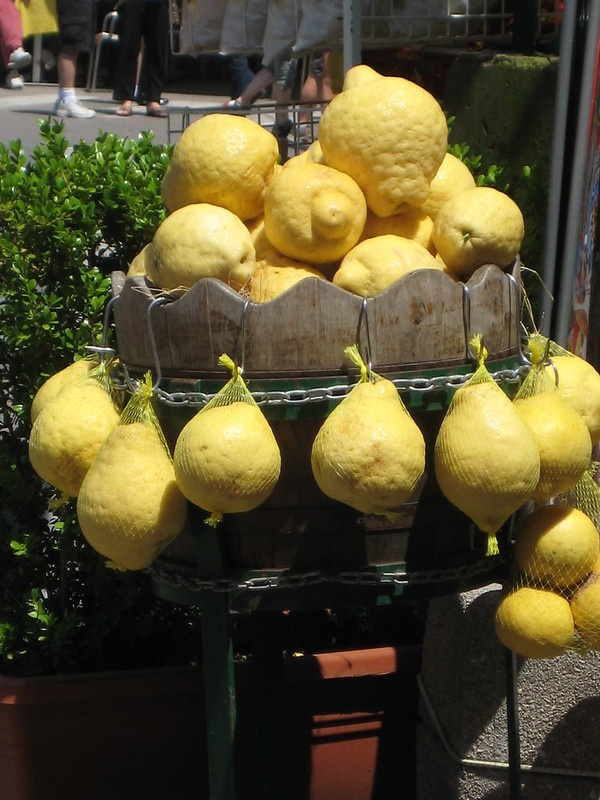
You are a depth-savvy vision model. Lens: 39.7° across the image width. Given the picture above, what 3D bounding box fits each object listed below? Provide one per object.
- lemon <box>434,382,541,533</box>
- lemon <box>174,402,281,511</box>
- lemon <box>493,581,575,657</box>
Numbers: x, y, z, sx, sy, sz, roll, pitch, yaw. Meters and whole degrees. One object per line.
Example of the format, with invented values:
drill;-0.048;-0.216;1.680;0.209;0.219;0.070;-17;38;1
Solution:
lemon;0.343;0.112;1.547;0.194;0.255;0.183;12;32;18
lemon;-0.135;0.107;1.491;0.169;0.187;0.155;-11;32;-20
lemon;0.453;0.441;1.714;0.172;0.139;0.144;5;10;4
